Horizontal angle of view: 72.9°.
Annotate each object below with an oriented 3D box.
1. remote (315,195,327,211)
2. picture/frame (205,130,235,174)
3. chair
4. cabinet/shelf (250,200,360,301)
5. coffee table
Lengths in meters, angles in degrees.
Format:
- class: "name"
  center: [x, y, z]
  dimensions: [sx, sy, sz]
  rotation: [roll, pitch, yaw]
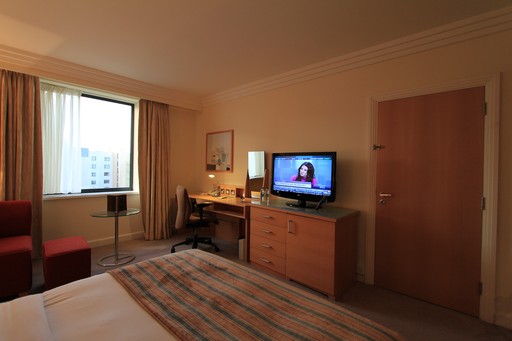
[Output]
- class: "remote"
  center: [0.933, 0.467, 5.036]
  dimensions: [0.127, 0.218, 0.079]
  rotation: [32, 12, -47]
- class: "picture/frame"
  center: [-0.732, -0.340, 6.816]
  dimensions: [0.035, 0.787, 0.801]
  rotation: [5, 4, 33]
- class: "chair"
  center: [-1.099, 0.873, 6.117]
  dimensions: [0.780, 1.068, 0.841]
  rotation: [3, -11, -29]
- class: "cabinet/shelf"
  center: [0.707, 1.071, 5.368]
  dimensions: [1.570, 1.104, 0.800]
  rotation: [7, 11, 41]
- class: "coffee table"
  center: [-2.197, 1.067, 5.535]
  dimensions: [0.679, 0.727, 0.671]
  rotation: [-1, -2, 28]
